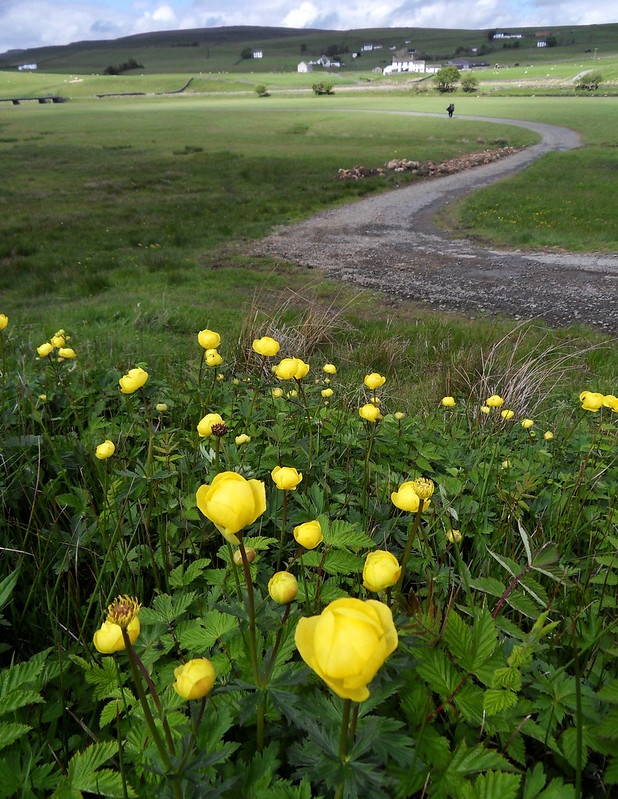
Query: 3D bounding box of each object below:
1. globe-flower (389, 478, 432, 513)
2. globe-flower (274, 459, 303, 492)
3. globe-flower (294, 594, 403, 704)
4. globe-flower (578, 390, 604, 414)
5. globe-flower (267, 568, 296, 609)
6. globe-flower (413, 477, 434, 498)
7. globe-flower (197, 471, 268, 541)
[{"bbox_3d":[0.262,0.227,1.282,0.097,0.082,0.119,-12,-15,43],"label":"globe-flower"},{"bbox_3d":[-0.055,0.189,1.307,0.059,0.086,0.102,-5,22,-7],"label":"globe-flower"},{"bbox_3d":[0.060,0.408,0.829,0.156,0.233,0.137,-2,22,-1],"label":"globe-flower"},{"bbox_3d":[1.342,0.020,2.561,0.115,0.083,0.134,11,-16,7],"label":"globe-flower"},{"bbox_3d":[-0.042,0.370,1.057,0.057,0.066,0.066,0,0,13],"label":"globe-flower"},{"bbox_3d":[0.271,0.214,1.256,0.046,0.047,0.049,7,12,25],"label":"globe-flower"},{"bbox_3d":[-0.134,0.204,1.011,0.109,0.110,0.109,-13,10,13],"label":"globe-flower"}]
